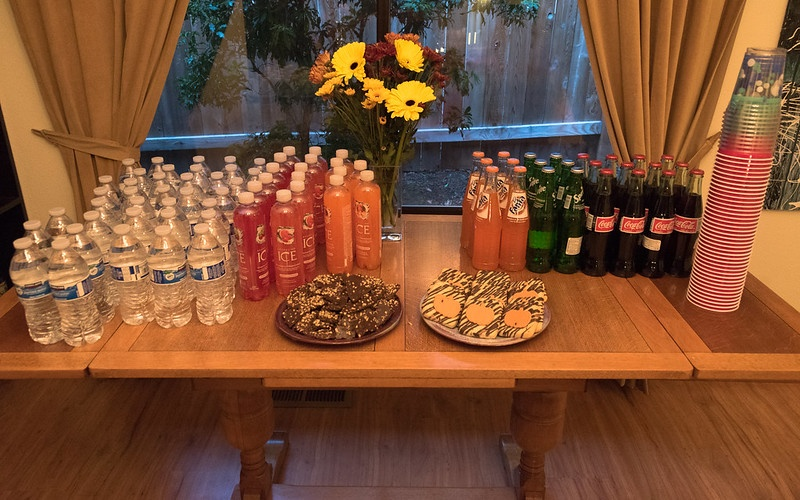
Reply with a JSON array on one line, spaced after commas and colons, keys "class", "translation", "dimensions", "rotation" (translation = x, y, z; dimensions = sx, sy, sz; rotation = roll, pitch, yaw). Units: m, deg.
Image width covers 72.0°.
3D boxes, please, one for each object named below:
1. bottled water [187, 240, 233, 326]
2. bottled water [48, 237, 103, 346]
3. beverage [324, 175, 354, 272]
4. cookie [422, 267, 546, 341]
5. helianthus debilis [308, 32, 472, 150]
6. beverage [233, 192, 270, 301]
[{"class": "bottled water", "translation": [-0.746, 0.147, 2.149], "dimensions": [0.168, 0.386, 0.156], "rotation": [2, 31, 2]}, {"class": "bottled water", "translation": [-1.218, 0.172, 2.061], "dimensions": [0.129, 0.396, 0.132], "rotation": [21, 31, 40]}, {"class": "beverage", "translation": [-0.248, -0.084, 2.328], "dimensions": [0.134, 0.414, 0.114], "rotation": [-9, 25, -21]}, {"class": "cookie", "translation": [0.332, 0.222, 2.170], "dimensions": [0.318, 0.054, 0.298], "rotation": [6, 42, 11]}, {"class": "helianthus debilis", "translation": [-0.049, -0.693, 2.541], "dimensions": [0.638, 0.520, 0.593], "rotation": [1, 44, -2]}, {"class": "beverage", "translation": [-0.593, 0.001, 2.220], "dimensions": [0.167, 0.526, 0.158], "rotation": [-4, 38, -10]}]
